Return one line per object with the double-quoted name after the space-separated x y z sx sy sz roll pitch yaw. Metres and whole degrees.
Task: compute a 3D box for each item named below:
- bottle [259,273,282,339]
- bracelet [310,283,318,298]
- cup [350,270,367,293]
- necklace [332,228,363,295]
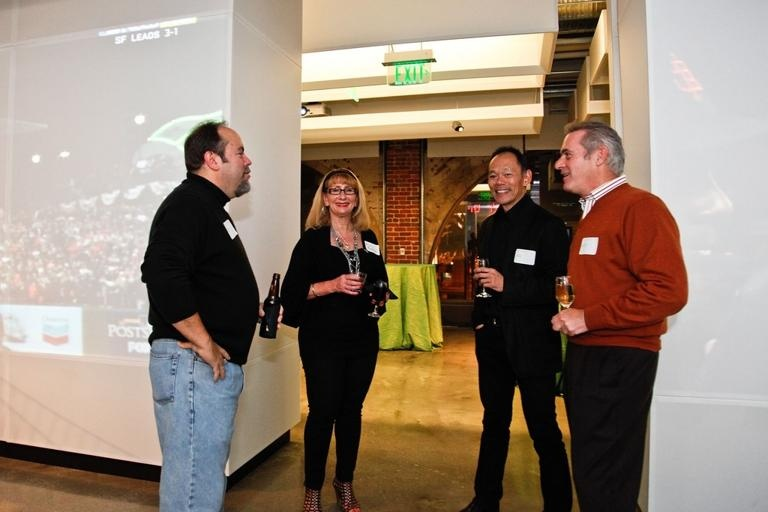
-0.647 0.292 3.143 0.113 0.378 0.236 0 7 -8 "bottle"
-0.451 0.222 3.523 0.022 0.073 0.074 3 3 8 "bracelet"
-0.167 0.168 3.413 0.058 0.123 0.121 7 10 43 "cup"
-0.190 0.017 3.651 0.159 0.491 0.100 4 -37 -43 "necklace"
